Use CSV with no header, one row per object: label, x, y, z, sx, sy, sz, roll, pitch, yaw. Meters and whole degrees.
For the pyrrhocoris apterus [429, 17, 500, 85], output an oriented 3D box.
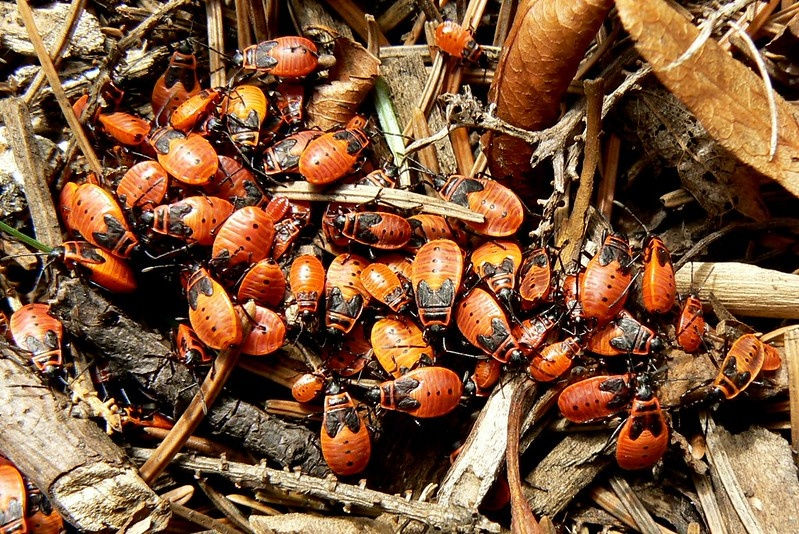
pyrrhocoris apterus,0.401,-1.361,4.758,0.362,0.304,0.112,18,9,-27
